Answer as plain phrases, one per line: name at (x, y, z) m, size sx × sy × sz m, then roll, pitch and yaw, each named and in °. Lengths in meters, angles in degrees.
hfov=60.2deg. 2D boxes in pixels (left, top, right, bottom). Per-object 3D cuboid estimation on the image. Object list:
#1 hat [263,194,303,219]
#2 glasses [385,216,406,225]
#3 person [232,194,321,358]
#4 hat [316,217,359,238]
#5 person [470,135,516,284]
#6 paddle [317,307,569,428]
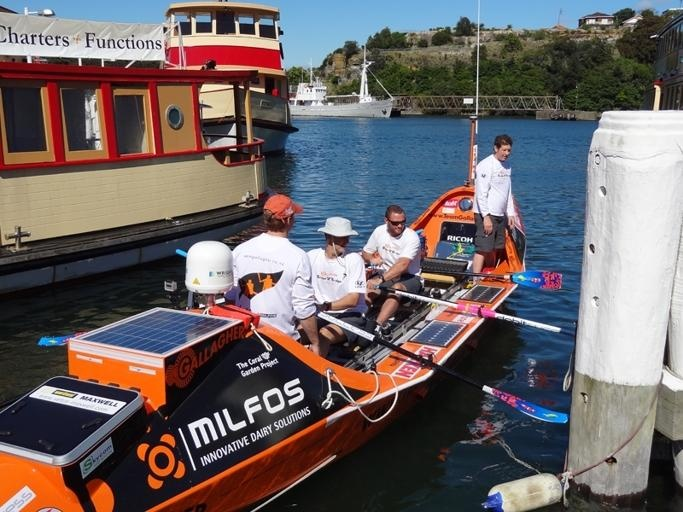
hat at (-0.568, -0.474, 5.739) m, size 0.231 × 0.185 × 0.359 m, roll 13°, pitch 25°, yaw 31°
glasses at (0.705, -0.455, 7.735) m, size 0.231 × 0.128 × 0.199 m, roll -2°, pitch 15°, yaw 2°
person at (-0.688, 0.230, 5.727) m, size 0.801 × 1.604 × 0.390 m, roll -5°, pitch 16°, yaw -6°
hat at (-0.030, -0.321, 6.574) m, size 0.340 × 0.251 × 0.424 m, roll -2°, pitch 15°, yaw 2°
person at (2.442, -0.827, 9.684) m, size 0.591 × 2.266 × 1.184 m, roll 12°, pitch 22°, yaw 44°
paddle at (1.130, 1.347, 6.927) m, size 3.636 × 0.242 × 0.408 m, roll 19°, pitch 4°, yaw 26°
